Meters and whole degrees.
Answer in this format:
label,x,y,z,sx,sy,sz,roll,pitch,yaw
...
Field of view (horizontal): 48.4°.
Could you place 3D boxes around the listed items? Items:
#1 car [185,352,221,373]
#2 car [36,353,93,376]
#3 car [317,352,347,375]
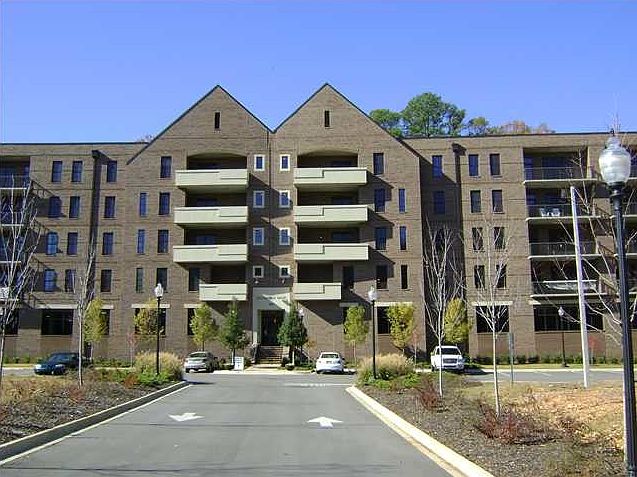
label,x,y,z,sx,sy,sz,roll,pitch,yaw
car,-8.210,8.806,50.001,1.747,1.378,2.647,-2,-3,4
car,-15.828,7.838,43.938,2.830,1.149,7.232,-1,-3,-23
car,0.895,8.630,48.512,1.344,1.099,3.297,0,-5,3
